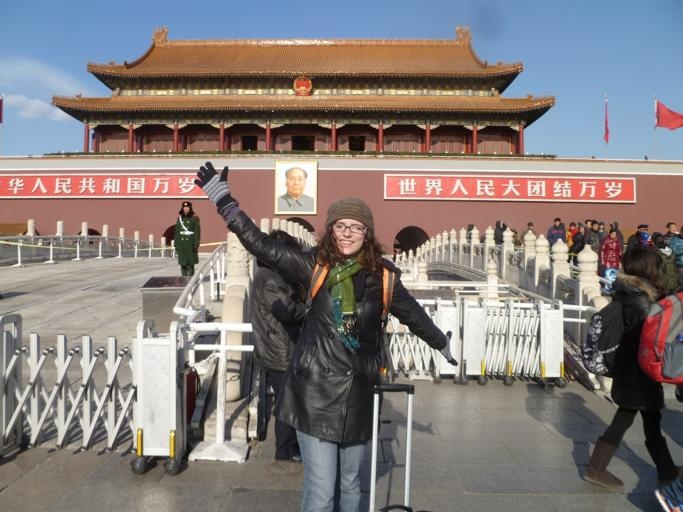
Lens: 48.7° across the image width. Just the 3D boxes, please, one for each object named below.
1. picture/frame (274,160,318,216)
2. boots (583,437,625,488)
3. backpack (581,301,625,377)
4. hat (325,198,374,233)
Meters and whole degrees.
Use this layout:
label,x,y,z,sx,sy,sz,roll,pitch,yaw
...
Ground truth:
label,x,y,z,sx,sy,sz,roll,pitch,yaw
picture/frame,-1.525,-2.449,26.283,1.610,2.332,0.083,0,1,-2
boots,2.397,1.899,6.890,0.326,0.415,0.195,11,10,19
backpack,2.315,0.724,6.744,0.351,0.691,0.134,-1,-1,19
hat,0.077,-0.362,6.197,0.274,0.211,0.299,4,-5,0
